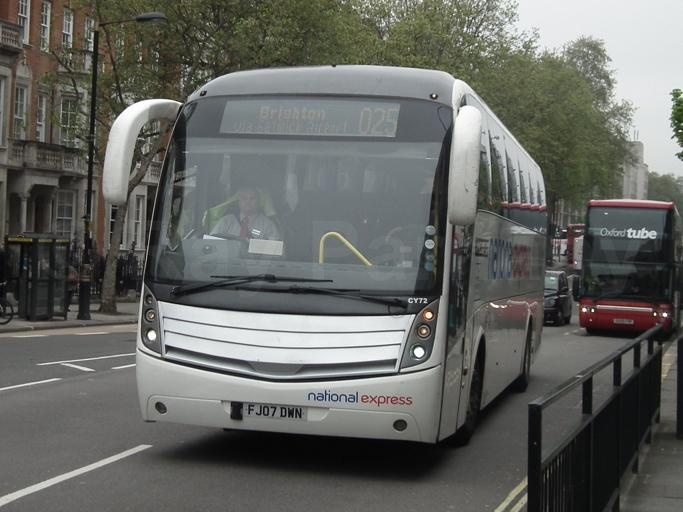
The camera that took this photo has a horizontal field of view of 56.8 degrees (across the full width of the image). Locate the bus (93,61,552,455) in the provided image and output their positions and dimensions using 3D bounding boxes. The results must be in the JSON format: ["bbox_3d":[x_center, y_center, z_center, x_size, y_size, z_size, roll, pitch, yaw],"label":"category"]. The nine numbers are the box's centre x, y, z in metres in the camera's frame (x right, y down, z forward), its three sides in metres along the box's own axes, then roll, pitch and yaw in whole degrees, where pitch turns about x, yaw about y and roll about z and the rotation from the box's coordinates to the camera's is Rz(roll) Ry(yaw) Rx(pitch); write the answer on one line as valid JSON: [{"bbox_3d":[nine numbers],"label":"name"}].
[{"bbox_3d":[0.506,0.135,8.764,2.466,3.088,6.682,0,-3,14],"label":"bus"}]

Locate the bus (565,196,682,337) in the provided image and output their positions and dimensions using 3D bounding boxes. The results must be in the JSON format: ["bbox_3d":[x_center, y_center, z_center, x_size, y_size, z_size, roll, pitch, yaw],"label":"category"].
[{"bbox_3d":[10.535,0.345,23.446,3.067,4.675,1.446,1,-2,14],"label":"bus"}]
